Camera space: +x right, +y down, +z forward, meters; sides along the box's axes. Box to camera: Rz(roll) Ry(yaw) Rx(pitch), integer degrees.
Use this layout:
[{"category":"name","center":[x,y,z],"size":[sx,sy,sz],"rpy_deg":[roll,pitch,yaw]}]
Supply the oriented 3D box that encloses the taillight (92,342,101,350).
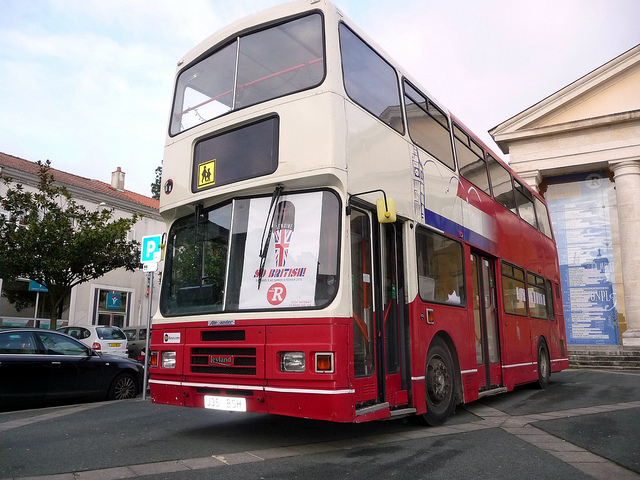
[{"category":"taillight","center":[-7.683,3.643,14.591],"size":[0.259,0.232,0.148],"rpy_deg":[4,-13,-16]}]

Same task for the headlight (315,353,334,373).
[{"category":"headlight","center":[0.061,1.401,4.828],"size":[0.185,0.207,0.109],"rpy_deg":[-4,-7,16]}]

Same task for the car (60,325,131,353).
[{"category":"car","center":[-8.185,3.335,15.345],"size":[2.176,0.859,1.078],"rpy_deg":[0,-8,27]}]

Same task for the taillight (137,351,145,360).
[{"category":"taillight","center":[-6.617,4.265,15.679],"size":[0.211,0.285,0.586],"rpy_deg":[5,-14,-20]}]

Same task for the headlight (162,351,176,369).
[{"category":"headlight","center":[-2.164,1.717,6.093],"size":[0.076,0.232,0.334],"rpy_deg":[12,-17,-42]}]

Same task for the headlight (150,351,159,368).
[{"category":"headlight","center":[-2.459,1.767,6.282],"size":[0.065,0.232,0.219],"rpy_deg":[10,-16,-38]}]
